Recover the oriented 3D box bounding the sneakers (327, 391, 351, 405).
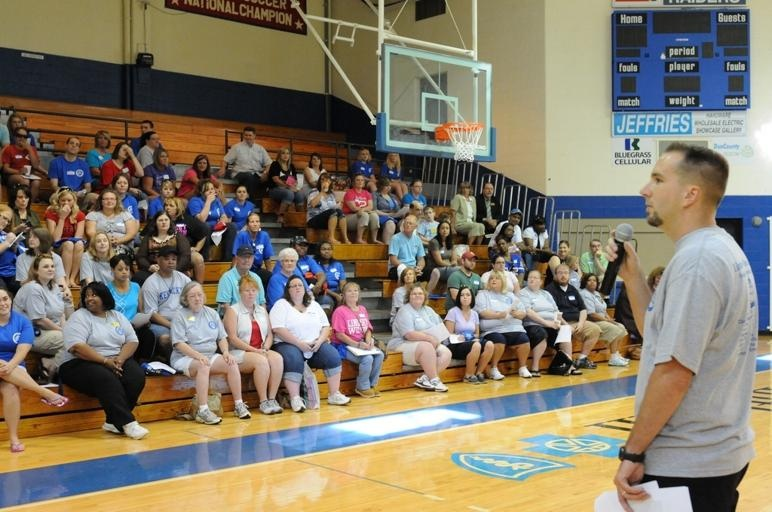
[{"bbox_3d":[-0.573,1.702,8.992,0.249,0.111,0.127,-2,-2,31],"label":"sneakers"}]

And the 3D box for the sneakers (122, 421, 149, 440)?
[{"bbox_3d":[-2.538,1.751,7.555,0.272,0.113,0.134,0,8,32],"label":"sneakers"}]

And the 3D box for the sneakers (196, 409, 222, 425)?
[{"bbox_3d":[-1.949,1.751,8.185,0.313,0.147,0.120,4,-2,18],"label":"sneakers"}]

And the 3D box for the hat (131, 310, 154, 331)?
[{"bbox_3d":[-2.789,0.707,8.524,0.206,0.293,0.171,31,23,37],"label":"hat"}]

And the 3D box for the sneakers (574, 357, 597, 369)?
[{"bbox_3d":[3.056,1.637,11.529,0.438,0.182,0.148,2,-2,-3],"label":"sneakers"}]

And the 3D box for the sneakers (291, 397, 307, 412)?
[{"bbox_3d":[-1.039,1.704,8.705,0.177,0.163,0.275,0,4,-7],"label":"sneakers"}]

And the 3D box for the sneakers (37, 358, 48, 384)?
[{"bbox_3d":[-3.671,1.210,7.951,0.098,0.241,0.238,-2,6,-31],"label":"sneakers"}]

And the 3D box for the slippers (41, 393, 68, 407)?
[{"bbox_3d":[-3.388,1.456,7.569,0.270,0.074,0.126,2,37,31],"label":"slippers"}]

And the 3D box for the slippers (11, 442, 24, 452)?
[{"bbox_3d":[-3.565,1.829,7.176,0.111,0.065,0.127,-2,5,-27],"label":"slippers"}]

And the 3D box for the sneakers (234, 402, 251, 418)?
[{"bbox_3d":[-1.636,1.706,8.366,0.250,0.170,0.176,2,5,15],"label":"sneakers"}]

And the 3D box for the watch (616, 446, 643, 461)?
[{"bbox_3d":[1.344,1.074,4.078,0.086,0.042,0.088,5,-6,29],"label":"watch"}]

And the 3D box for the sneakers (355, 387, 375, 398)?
[{"bbox_3d":[-0.272,1.717,9.431,0.233,0.105,0.095,0,3,33],"label":"sneakers"}]

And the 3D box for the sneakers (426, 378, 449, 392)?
[{"bbox_3d":[0.672,1.673,9.728,0.124,0.101,0.262,0,1,-28],"label":"sneakers"}]

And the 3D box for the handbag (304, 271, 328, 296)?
[{"bbox_3d":[-0.908,0.354,10.047,0.299,0.293,0.133,17,-32,-37],"label":"handbag"}]

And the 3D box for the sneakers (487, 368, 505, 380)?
[{"bbox_3d":[1.556,1.664,10.575,0.118,0.090,0.215,-1,-7,-28],"label":"sneakers"}]

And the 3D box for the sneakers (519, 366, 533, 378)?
[{"bbox_3d":[2.013,1.660,10.743,0.106,0.084,0.202,-4,-5,-14],"label":"sneakers"}]

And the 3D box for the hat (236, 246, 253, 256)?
[{"bbox_3d":[-1.711,-0.065,8.966,0.189,0.109,0.100,0,5,-10],"label":"hat"}]

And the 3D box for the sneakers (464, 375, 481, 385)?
[{"bbox_3d":[1.178,1.682,10.215,0.213,0.092,0.090,0,3,8],"label":"sneakers"}]

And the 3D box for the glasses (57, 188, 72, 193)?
[{"bbox_3d":[-4.132,-0.845,9.516,0.130,0.041,0.125,-7,-1,15],"label":"glasses"}]

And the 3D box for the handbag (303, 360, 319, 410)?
[{"bbox_3d":[-0.904,1.526,8.840,0.185,0.573,0.562,-5,0,-10],"label":"handbag"}]

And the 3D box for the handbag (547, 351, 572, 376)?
[{"bbox_3d":[2.544,1.596,11.137,0.376,0.387,0.270,-5,1,6],"label":"handbag"}]

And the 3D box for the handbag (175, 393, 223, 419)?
[{"bbox_3d":[-2.026,1.671,8.350,0.623,0.282,0.210,-6,-1,10],"label":"handbag"}]

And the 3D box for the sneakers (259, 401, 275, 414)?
[{"bbox_3d":[-1.376,1.719,8.536,0.105,0.142,0.168,-3,6,-38],"label":"sneakers"}]
